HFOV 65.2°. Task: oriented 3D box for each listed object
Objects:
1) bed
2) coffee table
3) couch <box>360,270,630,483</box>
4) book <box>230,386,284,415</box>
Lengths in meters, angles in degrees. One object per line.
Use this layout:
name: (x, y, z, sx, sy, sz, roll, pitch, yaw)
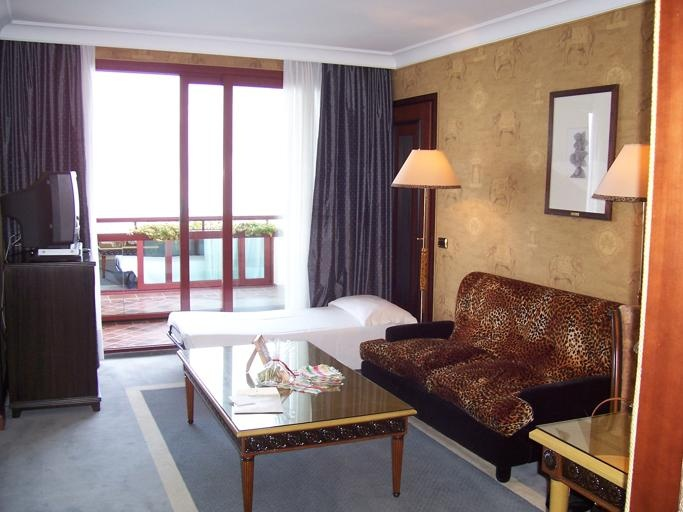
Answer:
bed: (-0.563, 0.705, 5.379, 1.770, 0.520, 1.084, -4, 11, -21)
coffee table: (-0.196, 0.948, 3.322, 0.864, 0.486, 1.345, -4, 11, -24)
couch: (1.206, 0.840, 4.081, 1.233, 1.112, 2.087, 0, 5, -21)
book: (-0.525, 0.895, 3.289, 0.339, 0.045, 0.342, 0, 9, -5)
